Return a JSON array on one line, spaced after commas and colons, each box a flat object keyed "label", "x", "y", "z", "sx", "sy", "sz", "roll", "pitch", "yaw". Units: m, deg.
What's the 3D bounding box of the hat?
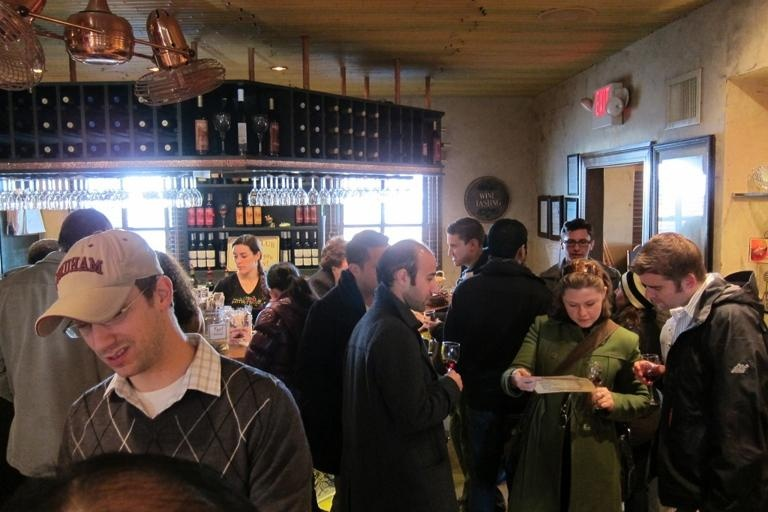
[{"label": "hat", "x": -1.301, "y": 0.059, "z": 3.008, "sx": 0.430, "sy": 0.365, "sz": 0.666, "roll": -9, "pitch": 13, "yaw": 15}]

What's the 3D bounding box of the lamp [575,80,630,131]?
[{"label": "lamp", "x": 2.608, "y": -1.745, "z": 7.764, "sx": 0.266, "sy": 0.467, "sz": 0.889, "roll": -3, "pitch": 6, "yaw": -14}]

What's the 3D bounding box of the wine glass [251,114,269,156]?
[{"label": "wine glass", "x": -1.123, "y": -1.074, "z": 5.985, "sx": 0.147, "sy": 0.365, "sz": 0.508, "roll": -1, "pitch": 6, "yaw": -10}]

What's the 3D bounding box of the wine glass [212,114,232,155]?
[{"label": "wine glass", "x": -1.428, "y": -1.062, "z": 5.818, "sx": 0.127, "sy": 0.352, "sz": 0.556, "roll": -1, "pitch": 6, "yaw": -14}]
